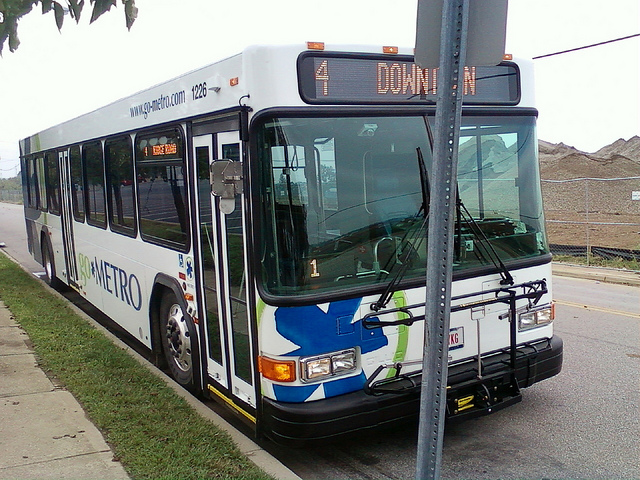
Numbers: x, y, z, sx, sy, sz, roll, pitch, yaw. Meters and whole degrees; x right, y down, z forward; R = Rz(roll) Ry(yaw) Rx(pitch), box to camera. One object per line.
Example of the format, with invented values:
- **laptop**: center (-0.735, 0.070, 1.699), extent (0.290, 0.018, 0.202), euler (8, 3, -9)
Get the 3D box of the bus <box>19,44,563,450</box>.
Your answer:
- **bus**: center (-2.493, -0.427, 10.154), extent (4.274, 4.197, 12.665), euler (-6, 9, -37)
